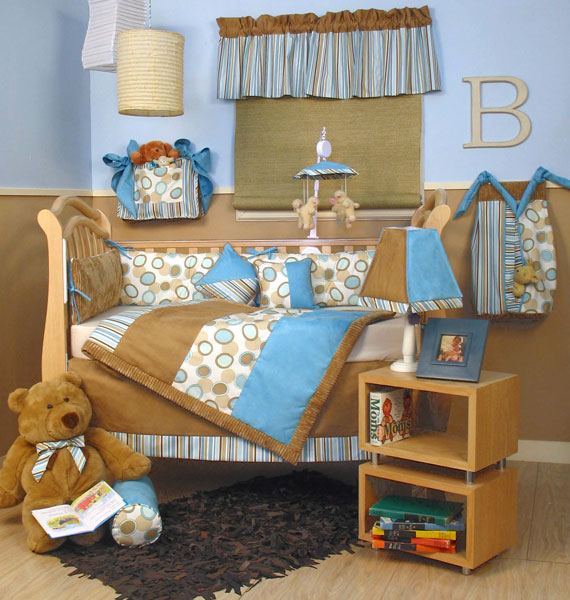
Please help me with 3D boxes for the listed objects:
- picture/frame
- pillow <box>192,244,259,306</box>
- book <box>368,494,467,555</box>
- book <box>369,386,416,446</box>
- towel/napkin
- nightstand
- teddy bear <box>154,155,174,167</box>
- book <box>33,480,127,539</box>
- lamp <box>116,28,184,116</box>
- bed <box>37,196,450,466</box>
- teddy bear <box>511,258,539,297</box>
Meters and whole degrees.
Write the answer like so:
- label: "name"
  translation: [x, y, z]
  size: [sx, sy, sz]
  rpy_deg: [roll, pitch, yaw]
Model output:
- label: "picture/frame"
  translation: [0.526, 0.161, 2.034]
  size: [0.247, 0.024, 0.245]
  rpy_deg: [6, 55, 26]
- label: "pillow"
  translation: [-0.223, -0.086, 3.149]
  size: [0.117, 0.359, 0.395]
  rpy_deg: [-7, 8, 23]
- label: "book"
  translation: [0.411, 0.709, 2.023]
  size: [0.257, 0.101, 0.230]
  rpy_deg: [0, -5, 13]
- label: "book"
  translation: [0.343, 0.381, 2.116]
  size: [0.090, 0.188, 0.228]
  rpy_deg: [-1, 0, 39]
- label: "towel/napkin"
  translation: [1.083, -0.203, 3.078]
  size: [0.375, 0.545, 0.111]
  rpy_deg: [2, 5, 17]
- label: "nightstand"
  translation: [0.499, 0.540, 2.134]
  size: [0.435, 0.526, 0.318]
  rpy_deg: [-2, -3, 39]
- label: "teddy bear"
  translation: [-0.650, -0.742, 3.481]
  size: [0.111, 0.053, 0.045]
  rpy_deg: [0, 4, 0]
- label: "book"
  translation: [-0.660, 0.683, 2.089]
  size: [0.246, 0.103, 0.223]
  rpy_deg: [-3, 5, -35]
- label: "lamp"
  translation: [-0.624, -1.084, 3.245]
  size: [0.436, 0.412, 0.405]
  rpy_deg: [0, 2, 3]
- label: "bed"
  translation: [-0.158, 0.096, 2.769]
  size: [1.565, 0.867, 0.838]
  rpy_deg: [5, 12, 0]
- label: "teddy bear"
  translation: [1.133, -0.093, 3.043]
  size: [0.123, 0.178, 0.057]
  rpy_deg: [2, 5, 19]
